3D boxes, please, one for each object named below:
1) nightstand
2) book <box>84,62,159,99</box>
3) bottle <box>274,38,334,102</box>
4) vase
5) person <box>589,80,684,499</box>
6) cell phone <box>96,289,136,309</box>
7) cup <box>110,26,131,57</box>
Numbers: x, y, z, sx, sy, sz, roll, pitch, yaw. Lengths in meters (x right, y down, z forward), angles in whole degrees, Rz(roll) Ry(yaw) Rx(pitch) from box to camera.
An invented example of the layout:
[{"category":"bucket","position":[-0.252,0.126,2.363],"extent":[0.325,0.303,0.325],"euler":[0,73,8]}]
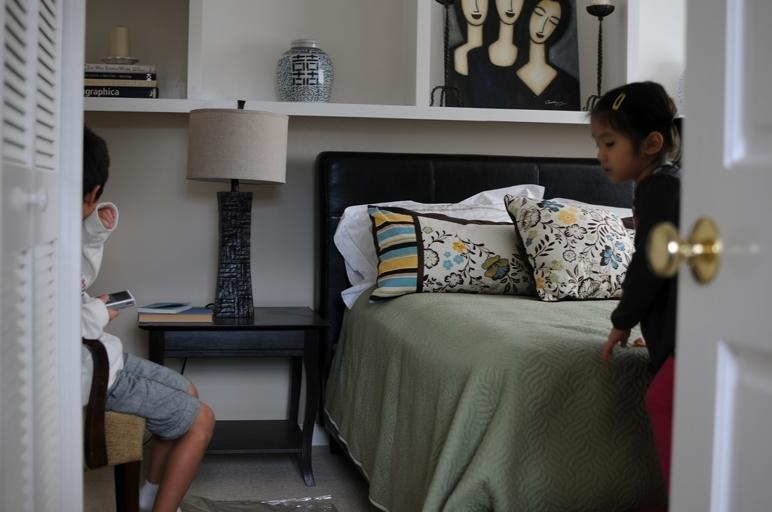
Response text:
[{"category":"nightstand","position":[-0.686,0.452,3.127],"extent":[0.921,0.925,0.703],"euler":[0,12,-6]},{"category":"book","position":[-1.223,-0.806,3.053],"extent":[0.309,0.167,0.082],"euler":[0,5,-7]},{"category":"bottle","position":[-0.380,-0.889,3.213],"extent":[0.269,0.268,0.280],"euler":[4,12,17]},{"category":"vase","position":[-0.374,-0.856,3.125],"extent":[0.275,0.278,0.284],"euler":[6,11,28]},{"category":"person","position":[0.684,0.044,1.861],"extent":[0.254,1.102,0.514],"euler":[3,6,23]},{"category":"cell phone","position":[-0.953,0.169,2.342],"extent":[0.107,0.026,0.110],"euler":[-8,22,-25]},{"category":"cup","position":[-1.254,-0.992,3.100],"extent":[0.091,0.151,0.170],"euler":[-2,6,-22]}]
